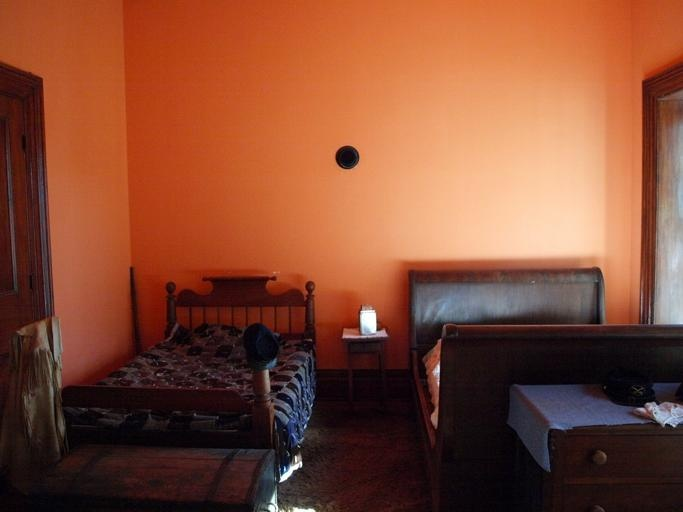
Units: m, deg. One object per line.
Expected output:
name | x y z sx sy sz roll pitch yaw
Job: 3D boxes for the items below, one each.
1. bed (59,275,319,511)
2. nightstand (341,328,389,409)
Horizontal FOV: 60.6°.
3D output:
bed | -0.877 0.856 4.379 1.283 1.009 1.642 -1 6 6
nightstand | 0.214 0.944 4.946 0.395 0.668 0.392 -1 4 2
